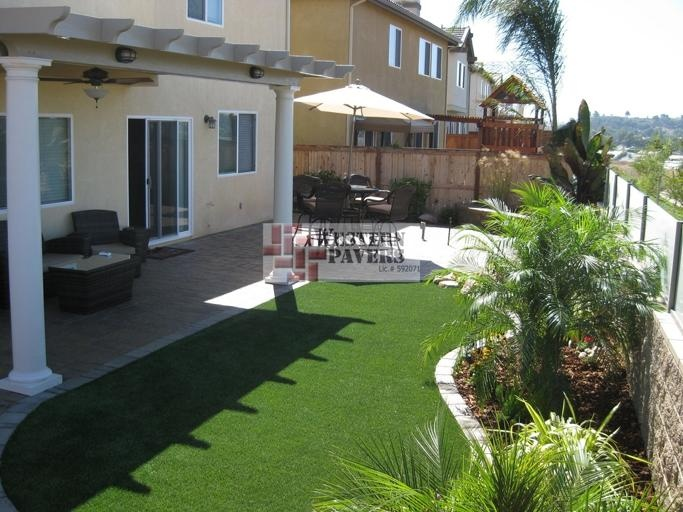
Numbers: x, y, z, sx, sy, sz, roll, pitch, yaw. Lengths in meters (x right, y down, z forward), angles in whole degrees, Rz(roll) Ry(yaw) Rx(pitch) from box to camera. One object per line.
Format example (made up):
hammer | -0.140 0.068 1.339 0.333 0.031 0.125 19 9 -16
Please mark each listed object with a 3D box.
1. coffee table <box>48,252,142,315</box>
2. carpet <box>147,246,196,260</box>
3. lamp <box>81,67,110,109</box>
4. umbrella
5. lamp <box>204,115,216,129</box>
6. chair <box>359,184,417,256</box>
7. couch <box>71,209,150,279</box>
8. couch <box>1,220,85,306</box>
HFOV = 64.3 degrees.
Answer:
coffee table | -3.730 0.362 8.332 0.708 0.781 1.156 2 5 27
carpet | -3.725 -0.083 11.813 0.886 0.074 1.149 2 14 4
lamp | -4.359 -3.065 9.739 0.396 0.474 1.821 -5 15 -24
umbrella | 0.566 -2.946 12.678 2.373 2.180 3.237 6 14 23
lamp | -3.203 -3.336 13.495 0.272 0.332 0.216 2 6 31
chair | 0.975 -0.985 11.747 0.777 1.297 0.892 -2 16 -38
couch | -4.329 -0.421 10.330 1.223 1.608 1.465 3 4 44
couch | -4.870 0.219 8.758 1.030 1.402 1.305 4 7 21
